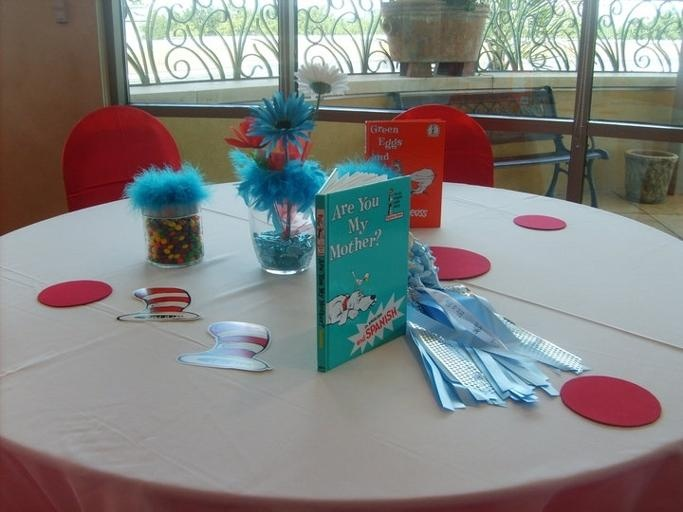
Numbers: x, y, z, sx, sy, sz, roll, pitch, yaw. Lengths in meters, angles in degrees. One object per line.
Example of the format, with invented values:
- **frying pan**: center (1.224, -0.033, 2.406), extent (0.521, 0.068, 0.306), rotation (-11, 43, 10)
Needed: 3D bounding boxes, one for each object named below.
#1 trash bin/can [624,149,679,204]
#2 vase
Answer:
- **trash bin/can**: center (1.518, -0.409, 2.722), extent (0.214, 0.229, 0.242), rotation (8, 31, 25)
- **vase**: center (-0.120, -0.031, 1.170), extent (0.127, 0.132, 0.151), rotation (-1, 16, -10)
